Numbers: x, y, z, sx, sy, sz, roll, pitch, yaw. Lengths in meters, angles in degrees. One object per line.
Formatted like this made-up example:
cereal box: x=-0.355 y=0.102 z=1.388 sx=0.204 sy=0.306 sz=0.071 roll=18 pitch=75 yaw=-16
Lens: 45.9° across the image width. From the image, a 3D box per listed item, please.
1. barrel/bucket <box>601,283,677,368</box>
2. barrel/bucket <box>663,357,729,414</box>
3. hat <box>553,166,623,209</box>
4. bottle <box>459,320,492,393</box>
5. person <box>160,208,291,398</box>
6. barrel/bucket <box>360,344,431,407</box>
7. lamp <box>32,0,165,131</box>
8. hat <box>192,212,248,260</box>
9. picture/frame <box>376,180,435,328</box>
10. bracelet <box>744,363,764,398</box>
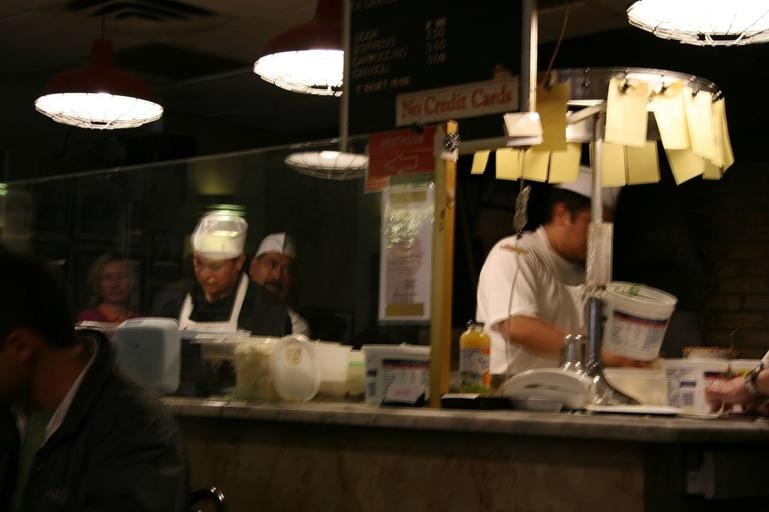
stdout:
barrel/bucket: x=0.983 y=0.250 z=3.507 sx=0.258 sy=0.296 sz=0.284 roll=2 pitch=4 yaw=17
barrel/bucket: x=1.151 y=0.468 z=3.404 sx=0.282 sy=0.200 sz=0.286 roll=-4 pitch=4 yaw=0
hat: x=1.090 y=-0.310 z=4.857 sx=0.336 sy=0.182 sz=0.253 roll=23 pitch=12 yaw=2
bottle: x=0.332 y=0.375 z=3.432 sx=0.131 sy=0.263 sz=0.092 roll=3 pitch=4 yaw=25
person: x=-0.630 y=0.213 z=3.726 sx=0.747 sy=0.684 sz=0.420 roll=-2 pitch=-7 yaw=27
barrel/bucket: x=0.067 y=0.457 z=3.491 sx=0.272 sy=0.228 sz=0.163 roll=-2 pitch=-9 yaw=10
lamp: x=-1.572 y=-1.036 z=5.014 sx=0.572 sy=0.594 sz=0.605 roll=0 pitch=-10 yaw=-3
hat: x=-0.674 y=-0.092 z=3.794 sx=0.214 sy=0.190 sz=0.214 roll=2 pitch=-11 yaw=12
picture/frame: x=0.093 y=-0.036 z=3.528 sx=0.258 sy=0.619 sz=0.044 roll=-2 pitch=-5 yaw=36
bracelet: x=1.257 y=0.424 z=3.091 sx=0.036 sy=0.096 sz=0.073 roll=1 pitch=16 yaw=2
